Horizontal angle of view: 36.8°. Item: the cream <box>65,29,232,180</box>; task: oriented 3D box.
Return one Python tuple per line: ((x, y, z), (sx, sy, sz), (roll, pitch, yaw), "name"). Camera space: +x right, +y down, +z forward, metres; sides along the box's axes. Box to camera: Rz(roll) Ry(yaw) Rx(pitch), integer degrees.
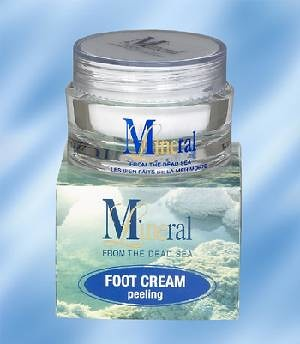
((-0.001, -0.153, 1.059), (0.394, 0.216, 0.364), (13, 22, 27), "cream")
